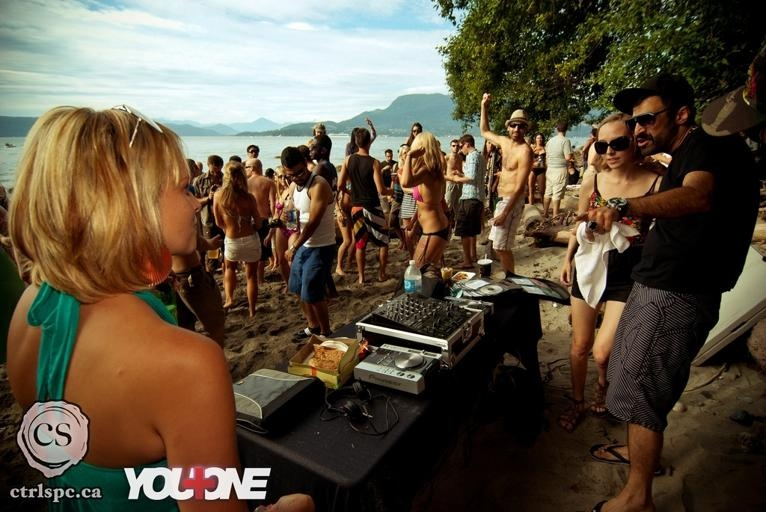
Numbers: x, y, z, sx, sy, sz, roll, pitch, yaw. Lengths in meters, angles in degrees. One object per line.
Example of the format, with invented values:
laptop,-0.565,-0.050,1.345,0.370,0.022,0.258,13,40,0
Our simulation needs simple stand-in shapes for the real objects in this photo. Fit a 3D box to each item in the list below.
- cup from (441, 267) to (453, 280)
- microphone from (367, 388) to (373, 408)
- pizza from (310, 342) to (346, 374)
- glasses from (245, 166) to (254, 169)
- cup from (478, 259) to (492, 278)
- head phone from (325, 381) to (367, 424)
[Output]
cup,0.507,0.152,3.664,0.091,0.099,0.087,-3,34,2
microphone,-0.068,0.767,2.500,0.024,0.061,0.044,-8,16,-41
pizza,-0.334,0.585,2.738,0.142,0.040,0.149,3,30,13
glasses,-2.022,-1.346,7.039,0.084,0.041,0.110,0,16,-15
cup,0.847,0.098,3.817,0.153,0.129,0.151,-2,14,1
head phone,-0.192,0.774,2.467,0.234,0.105,0.200,6,30,21
